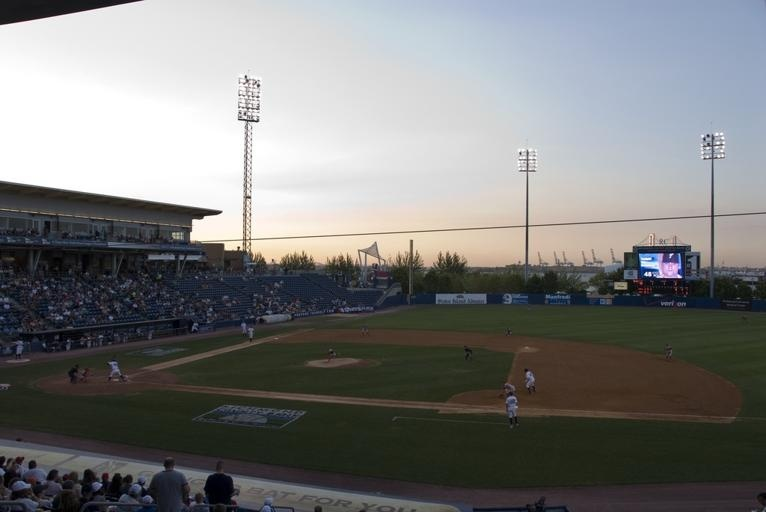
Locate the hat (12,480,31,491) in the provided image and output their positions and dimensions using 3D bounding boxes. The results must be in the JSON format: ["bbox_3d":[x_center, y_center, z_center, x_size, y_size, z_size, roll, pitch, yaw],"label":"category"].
[{"bbox_3d":[-19.582,12.527,45.621,0.906,0.283,0.613,2,0,-40],"label":"hat"}]

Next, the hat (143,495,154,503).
[{"bbox_3d":[-12.611,13.103,45.206,0.539,0.321,0.777,-3,9,-19],"label":"hat"}]

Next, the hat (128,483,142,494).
[{"bbox_3d":[-13.567,12.851,46.210,0.516,0.560,0.572,9,3,-1],"label":"hat"}]
